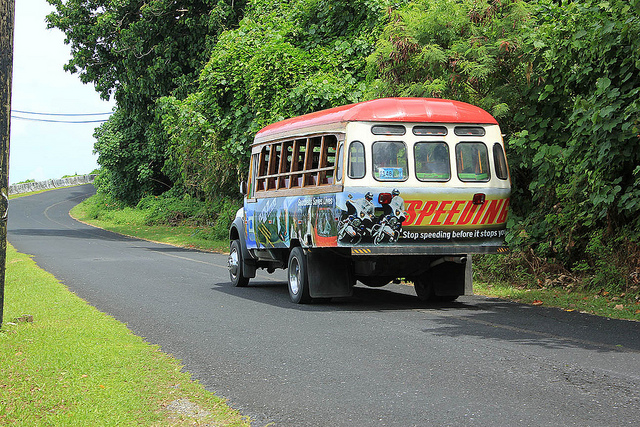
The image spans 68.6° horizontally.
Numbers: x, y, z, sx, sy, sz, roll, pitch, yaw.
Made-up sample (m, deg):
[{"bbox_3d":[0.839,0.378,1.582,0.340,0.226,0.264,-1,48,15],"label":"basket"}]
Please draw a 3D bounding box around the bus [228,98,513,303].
[{"bbox_3d":[0.869,-0.213,11.276,6.365,4.435,2.984,0,0,36],"label":"bus"}]
